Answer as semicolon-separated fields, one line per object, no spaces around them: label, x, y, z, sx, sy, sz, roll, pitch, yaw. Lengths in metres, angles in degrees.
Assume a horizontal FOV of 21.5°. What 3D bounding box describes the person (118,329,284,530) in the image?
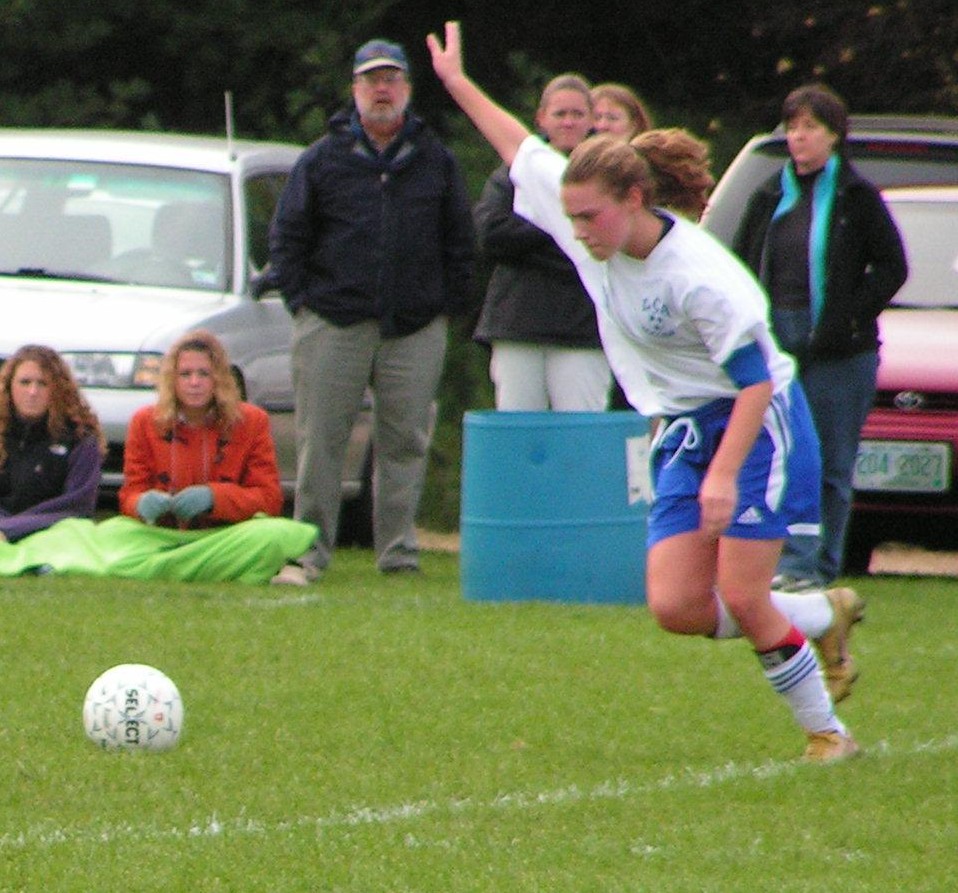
person;-1.113;0.037;9.979;0.667;0.903;0.532;3;4;6

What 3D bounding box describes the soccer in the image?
soccer;-1.070;0.792;7.590;0.255;0.248;0.249;-31;28;6

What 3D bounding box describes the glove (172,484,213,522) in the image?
glove;-1.130;0.241;9.889;0.161;0.178;0.169;-1;15;-7

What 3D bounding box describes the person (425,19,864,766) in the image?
person;0.596;-0.018;7.611;1.299;1.851;0.711;7;16;20

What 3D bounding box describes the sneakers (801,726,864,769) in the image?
sneakers;1.059;0.907;7.489;0.152;0.093;0.087;2;-4;-7

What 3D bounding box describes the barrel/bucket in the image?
barrel/bucket;0.288;0.234;9.639;0.734;0.718;0.726;0;-1;0
